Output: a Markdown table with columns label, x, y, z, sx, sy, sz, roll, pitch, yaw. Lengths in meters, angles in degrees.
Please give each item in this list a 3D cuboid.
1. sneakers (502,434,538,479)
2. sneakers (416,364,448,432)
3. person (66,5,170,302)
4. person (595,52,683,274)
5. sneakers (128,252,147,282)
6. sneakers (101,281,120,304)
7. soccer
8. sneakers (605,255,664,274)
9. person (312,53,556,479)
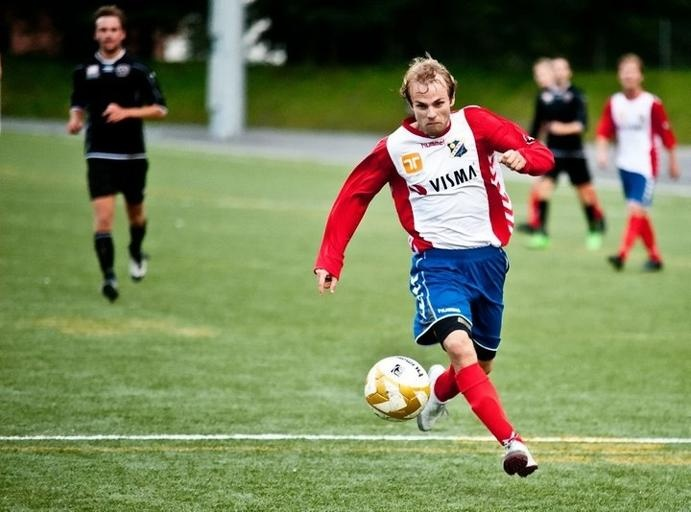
| label | x | y | z | sx | sy | sz | roll | pitch | yaw |
| --- | --- | --- | --- | --- | --- | --- | --- | --- | --- |
| sneakers | 1.067 | 1.243 | 6.788 | 0.133 | 0.166 | 0.338 | -33 | -26 | 5 |
| sneakers | 0.593 | 0.996 | 7.661 | 0.213 | 0.485 | 0.167 | 11 | 14 | 14 |
| person | -1.636 | -0.726 | 7.957 | 0.685 | 2.129 | 0.444 | -2 | 7 | -13 |
| person | 2.345 | -0.812 | 8.896 | 0.625 | 1.588 | 1.969 | 1 | 8 | 12 |
| sneakers | -1.532 | 0.084 | 8.142 | 0.135 | 0.193 | 0.096 | -5 | 4 | -20 |
| sneakers | -1.710 | 0.248 | 8.081 | 0.107 | 0.146 | 0.149 | 0 | 4 | 4 |
| soccer | 0.376 | 0.889 | 7.384 | 0.399 | 0.404 | 0.402 | 24 | -8 | 11 |
| sneakers | 2.062 | 0.067 | 8.124 | 0.531 | 0.157 | 0.133 | 1 | -7 | 10 |
| person | 0.615 | -0.063 | 7.148 | 1.317 | 2.442 | 0.719 | 2 | 8 | 20 |
